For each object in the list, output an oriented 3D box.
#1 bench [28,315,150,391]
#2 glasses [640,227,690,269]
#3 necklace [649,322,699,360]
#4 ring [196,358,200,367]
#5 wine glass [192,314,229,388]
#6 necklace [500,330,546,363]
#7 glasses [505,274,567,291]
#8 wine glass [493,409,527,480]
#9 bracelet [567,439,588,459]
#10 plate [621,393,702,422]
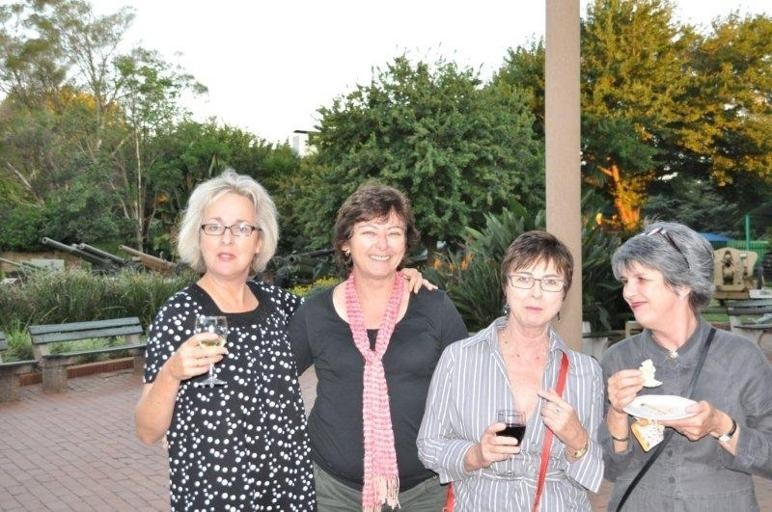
[{"bbox_3d":[-5.965,1.903,10.662,1.618,1.251,2.298,0,2,19],"label":"bench"},{"bbox_3d":[1.542,-0.040,2.957,0.062,0.225,0.217,-45,11,-26],"label":"glasses"},{"bbox_3d":[1.598,0.435,2.977,0.197,0.195,0.241,-5,15,24],"label":"necklace"},{"bbox_3d":[-0.916,0.524,2.617,0.040,0.029,0.009,1,3,40],"label":"ring"},{"bbox_3d":[-0.906,0.514,2.797,0.177,0.382,0.403,-1,2,-18],"label":"wine glass"},{"bbox_3d":[0.783,0.535,3.052,0.183,0.071,0.186,3,-41,10],"label":"necklace"},{"bbox_3d":[0.822,0.149,2.942,0.295,0.100,0.062,0,2,10],"label":"glasses"},{"bbox_3d":[0.654,0.997,2.802,0.161,0.394,0.295,0,2,15],"label":"wine glass"},{"bbox_3d":[1.013,1.040,2.828,0.104,0.104,0.074,0,2,21],"label":"bracelet"},{"bbox_3d":[1.362,0.769,2.718,0.312,0.080,0.266,-1,2,-19],"label":"plate"}]
